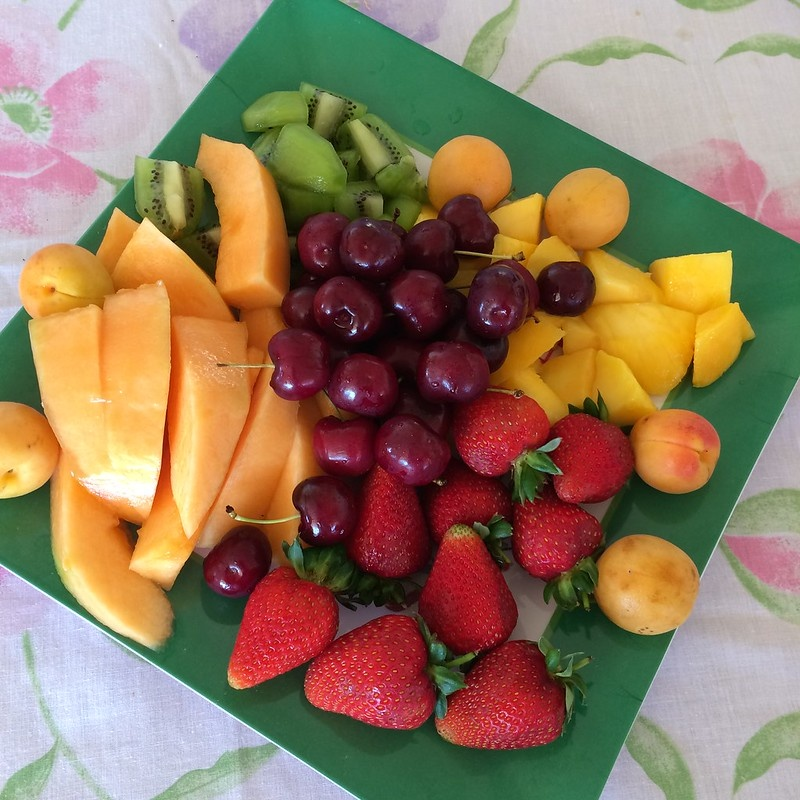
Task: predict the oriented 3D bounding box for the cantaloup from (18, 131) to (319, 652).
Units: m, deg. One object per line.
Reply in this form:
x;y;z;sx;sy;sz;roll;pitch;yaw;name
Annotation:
-0.303;0.013;1.359;0.542;0.617;0.187;7;-4;5;cantaloup

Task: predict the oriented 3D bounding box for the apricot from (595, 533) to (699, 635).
0.319;0.252;1.247;0.126;0.109;0.146;-32;2;7;apricot

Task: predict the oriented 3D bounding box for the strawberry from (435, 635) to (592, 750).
0.139;0.385;1.141;0.178;0.098;0.111;-12;28;-15;strawberry
